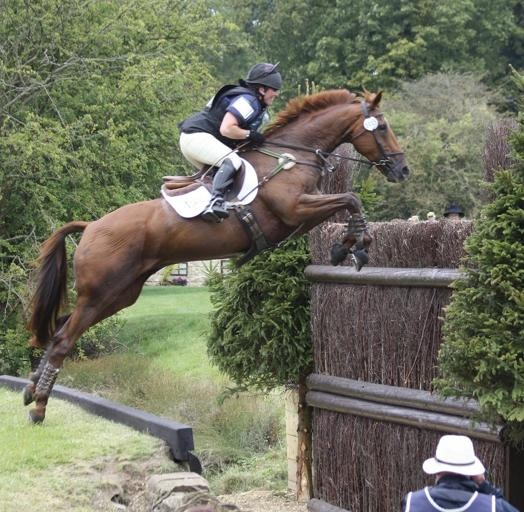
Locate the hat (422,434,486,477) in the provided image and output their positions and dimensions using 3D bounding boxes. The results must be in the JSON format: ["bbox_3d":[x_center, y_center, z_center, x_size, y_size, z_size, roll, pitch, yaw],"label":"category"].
[{"bbox_3d":[1.310,1.334,5.862,0.362,0.148,0.328,1,1,3],"label":"hat"}]

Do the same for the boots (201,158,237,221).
[{"bbox_3d":[-0.336,-0.571,7.388,0.240,0.461,0.147,19,-2,-20],"label":"boots"}]

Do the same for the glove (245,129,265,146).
[{"bbox_3d":[-0.064,-0.974,7.611,0.159,0.133,0.160,4,1,-5],"label":"glove"}]

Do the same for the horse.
[{"bbox_3d":[-0.481,0.056,7.741,3.341,2.880,0.811,5,0,7],"label":"horse"}]

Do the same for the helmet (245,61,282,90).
[{"bbox_3d":[0.019,-1.527,7.736,0.335,0.179,0.230,-1,6,3],"label":"helmet"}]
